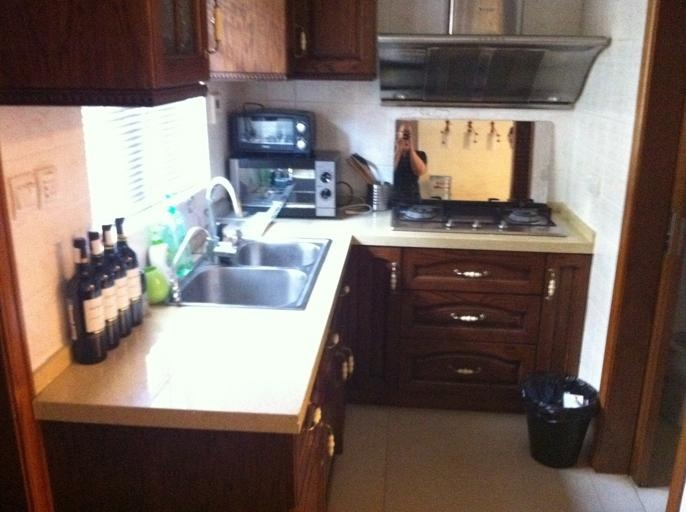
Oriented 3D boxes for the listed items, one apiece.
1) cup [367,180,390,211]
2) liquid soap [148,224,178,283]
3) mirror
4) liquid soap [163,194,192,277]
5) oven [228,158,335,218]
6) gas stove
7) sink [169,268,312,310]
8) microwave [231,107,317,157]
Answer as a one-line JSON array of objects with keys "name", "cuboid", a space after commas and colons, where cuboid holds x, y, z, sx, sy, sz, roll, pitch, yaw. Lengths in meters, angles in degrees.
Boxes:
[{"name": "cup", "cuboid": [0.197, -0.346, 3.340, 0.174, 0.165, 0.159, -1, 21, 0]}, {"name": "liquid soap", "cuboid": [-0.708, -0.008, 2.279, 0.083, 0.066, 0.169, -8, 41, -11]}, {"name": "mirror", "cuboid": [0.766, -0.517, 3.267, 0.636, 0.349, 0.007, 1, 15, 4]}, {"name": "liquid soap", "cuboid": [-0.681, -0.069, 2.392, 0.106, 0.363, 0.093, 9, 43, 0]}, {"name": "oven", "cuboid": [-0.309, -0.397, 3.239, 0.580, 0.309, 0.330, 1, 18, 4]}, {"name": "gas stove", "cuboid": [0.704, -0.224, 3.142, 0.886, 0.100, 0.489, 3, 18, 7]}, {"name": "sink", "cuboid": [-0.400, 0.121, 2.416, 0.324, 0.109, 0.235, 2, 14, 3]}, {"name": "microwave", "cuboid": [-0.395, -0.665, 3.193, 0.471, 0.242, 0.367, -1, 19, -6]}]
